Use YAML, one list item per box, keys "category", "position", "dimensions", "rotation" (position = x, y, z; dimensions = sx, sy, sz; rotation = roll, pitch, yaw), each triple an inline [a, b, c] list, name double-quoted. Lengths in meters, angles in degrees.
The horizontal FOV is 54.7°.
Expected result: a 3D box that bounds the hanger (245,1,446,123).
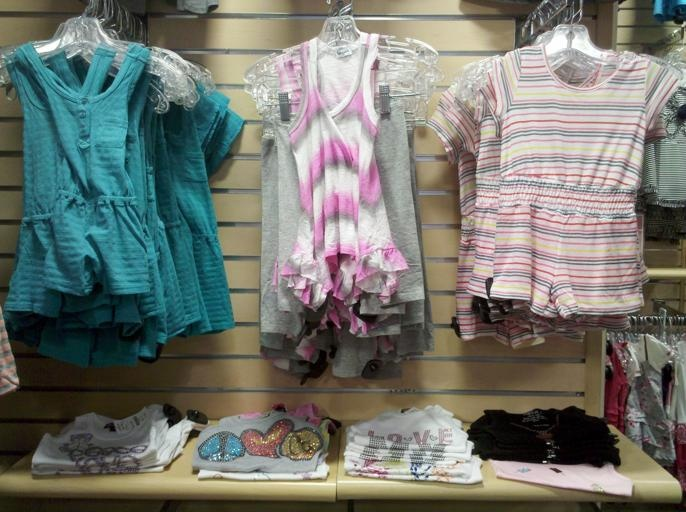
- category: "hanger"
  position: [0.035, -0.770, 2.643]
  dimensions: [0.799, 0.503, 0.067]
  rotation: [0, 2, 0]
